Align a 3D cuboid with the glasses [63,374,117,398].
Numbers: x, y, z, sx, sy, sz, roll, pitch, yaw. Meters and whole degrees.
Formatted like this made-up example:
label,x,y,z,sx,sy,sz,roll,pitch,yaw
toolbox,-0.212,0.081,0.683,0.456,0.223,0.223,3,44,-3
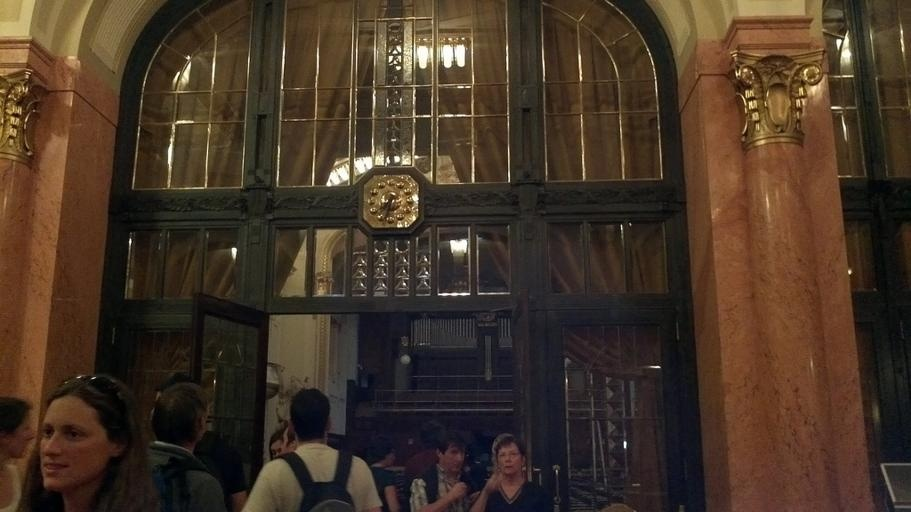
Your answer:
label,x,y,z,sx,sy,sz,roll,pitch,yaw
glasses,-3.001,1.069,7.858,0.232,0.067,0.223,5,-38,-7
